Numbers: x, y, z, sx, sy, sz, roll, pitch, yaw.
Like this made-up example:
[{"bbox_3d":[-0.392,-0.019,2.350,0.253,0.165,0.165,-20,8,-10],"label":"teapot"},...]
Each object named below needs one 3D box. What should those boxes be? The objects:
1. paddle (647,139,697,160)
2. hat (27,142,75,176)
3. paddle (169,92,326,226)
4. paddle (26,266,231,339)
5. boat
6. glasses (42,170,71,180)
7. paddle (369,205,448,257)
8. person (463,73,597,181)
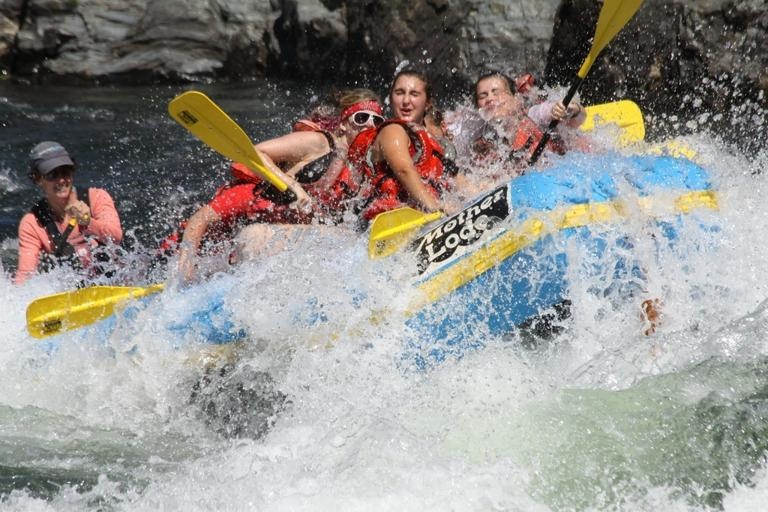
[{"bbox_3d":[2.271,-0.812,7.967,0.228,0.215,0.068,-13,112,-54],"label":"paddle"},{"bbox_3d":[-2.796,-0.823,8.503,0.357,0.480,0.265,-19,105,-34],"label":"hat"},{"bbox_3d":[-1.149,-0.904,8.259,1.653,0.451,0.184,41,27,-2],"label":"paddle"},{"bbox_3d":[-2.123,0.351,8.058,1.304,0.195,0.321,-12,94,-8],"label":"paddle"},{"bbox_3d":[0.740,0.063,7.721,3.050,1.803,0.649,-24,84,10],"label":"boat"},{"bbox_3d":[-2.679,-0.649,8.376,0.111,0.108,0.031,-12,81,-36],"label":"glasses"},{"bbox_3d":[0.184,-0.201,7.841,0.600,0.114,0.237,-22,104,-33],"label":"paddle"},{"bbox_3d":[1.227,-1.050,8.687,0.681,1.355,0.458,-28,128,-20],"label":"person"}]
